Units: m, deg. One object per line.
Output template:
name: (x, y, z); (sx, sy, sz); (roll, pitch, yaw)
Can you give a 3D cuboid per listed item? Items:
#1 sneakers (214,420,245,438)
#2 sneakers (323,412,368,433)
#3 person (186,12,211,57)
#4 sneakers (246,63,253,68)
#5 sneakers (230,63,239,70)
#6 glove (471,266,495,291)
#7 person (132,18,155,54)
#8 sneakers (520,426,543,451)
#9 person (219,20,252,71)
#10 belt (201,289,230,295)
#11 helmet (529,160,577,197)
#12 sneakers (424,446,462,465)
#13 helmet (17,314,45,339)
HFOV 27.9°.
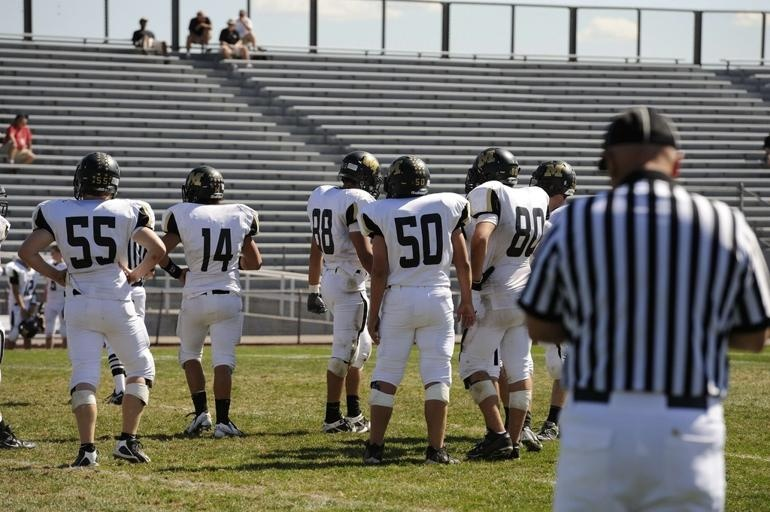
sneakers: (-2.248, 2.563, 22.937); (0.557, 0.242, 0.169); (0, -1, -9)
sneakers: (-0.555, 2.498, 23.423); (0.763, 0.272, 0.248); (-6, 10, -13)
person: (-4.476, -5.362, 37.217); (0.577, 1.052, 1.292); (1, 1, -8)
sneakers: (-3.287, -4.619, 37.605); (0.170, 0.141, 0.101); (0, 2, -44)
sneakers: (-3.623, -4.553, 37.384); (0.227, 0.203, 0.151); (-1, 4, -1)
glove: (1.431, 0.312, 22.382); (0.360, 0.179, 0.255); (-39, 9, -10)
person: (-5.809, -5.305, 37.239); (0.503, 0.781, 0.440); (0, 2, -29)
sneakers: (2.098, 2.654, 22.494); (0.196, 0.220, 0.481); (-29, -49, 27)
person: (-3.684, -5.221, 37.775); (0.676, 0.943, 0.411); (1, 2, -15)
belt: (-2.497, 0.528, 23.037); (0.377, 0.056, 0.050); (1, 1, -6)
helmet: (2.575, -1.163, 23.297); (0.676, 0.452, 0.486); (12, 6, 15)
sneakers: (0.814, 2.809, 22.066); (0.484, 0.248, 0.112); (1, 1, -5)
helmet: (-6.307, 1.222, 27.565); (0.474, 0.367, 0.507); (-28, 3, -22)
